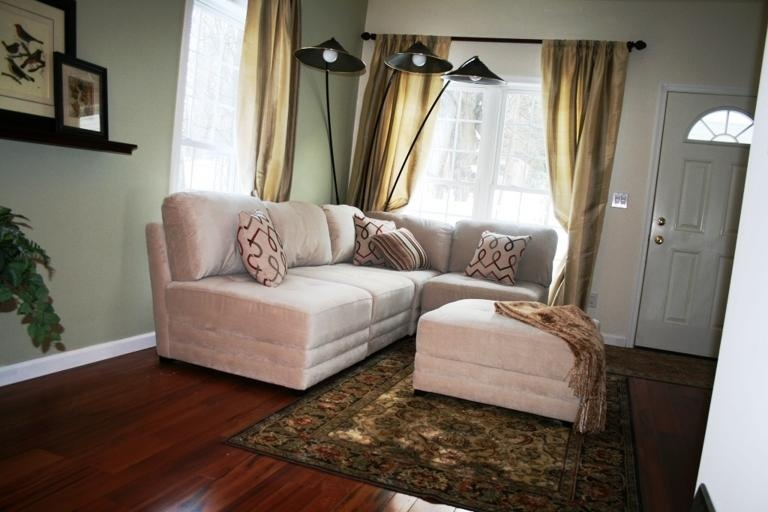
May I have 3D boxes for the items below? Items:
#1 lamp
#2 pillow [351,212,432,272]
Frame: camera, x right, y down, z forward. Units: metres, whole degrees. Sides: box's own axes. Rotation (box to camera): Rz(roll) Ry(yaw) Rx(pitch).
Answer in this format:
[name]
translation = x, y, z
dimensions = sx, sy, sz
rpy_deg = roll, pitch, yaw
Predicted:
[lamp]
translation = 0.215, -1.432, 5.397
dimensions = 2.046, 2.111, 0.873
rpy_deg = 2, 15, -10
[pillow]
translation = 0.062, -0.043, 4.743
dimensions = 0.587, 0.176, 0.571
rpy_deg = 20, 30, -20
